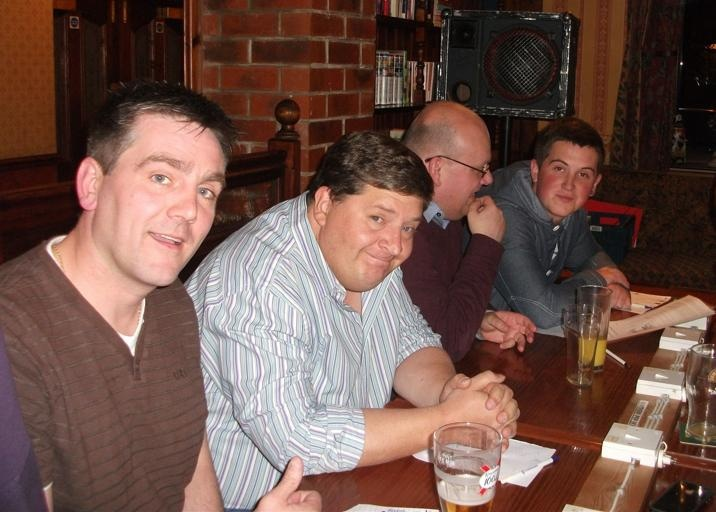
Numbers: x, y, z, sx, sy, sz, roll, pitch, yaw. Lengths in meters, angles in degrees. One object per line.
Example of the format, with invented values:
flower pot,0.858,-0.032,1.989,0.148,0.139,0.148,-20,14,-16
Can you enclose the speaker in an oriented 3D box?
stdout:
speaker,0.878,-1.118,3.175,0.841,0.666,0.333,8,10,14

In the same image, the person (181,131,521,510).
person,-0.123,-0.028,1.853,1.036,1.476,0.728,8,19,11
